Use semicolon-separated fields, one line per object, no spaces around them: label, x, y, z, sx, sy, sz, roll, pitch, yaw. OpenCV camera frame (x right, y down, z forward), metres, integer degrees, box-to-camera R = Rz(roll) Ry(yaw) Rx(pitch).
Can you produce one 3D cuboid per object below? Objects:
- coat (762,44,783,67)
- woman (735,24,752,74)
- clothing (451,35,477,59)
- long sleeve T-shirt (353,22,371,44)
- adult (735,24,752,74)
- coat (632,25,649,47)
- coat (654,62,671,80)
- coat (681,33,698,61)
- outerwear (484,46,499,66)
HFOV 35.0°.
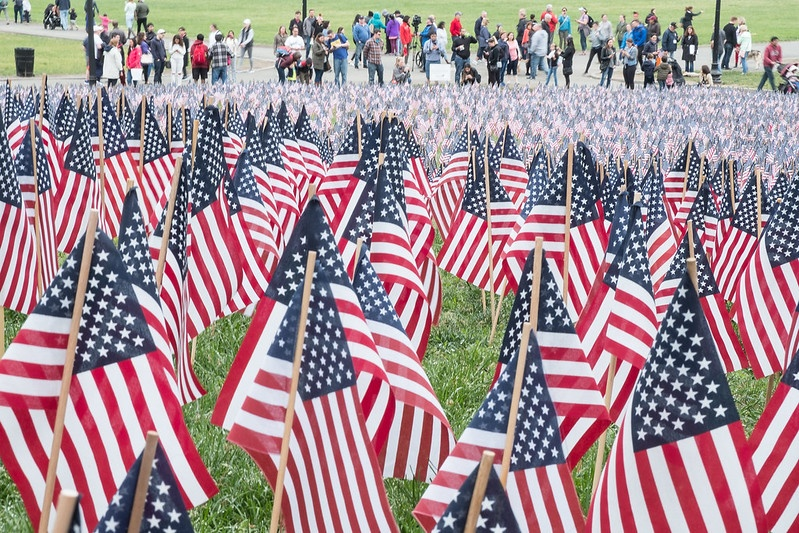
coat;11.980;-6.760;40.699;0.500;0.719;0.433;4;11;2
woman;13.526;-8.530;49.800;0.601;1.946;0.776;0;23;7
clothing;1.931;-6.756;38.985;0.484;0.652;0.917;3;14;-4
long sleeve T-shirt;-1.227;-8.079;43.957;0.698;1.038;0.463;-11;18;-36
adult;13.576;-8.570;49.913;0.601;1.973;0.678;15;35;32
coat;7.889;-7.623;41.891;0.406;0.711;1.385;8;14;22
coat;7.604;-5.619;36.512;0.301;0.410;0.977;8;28;4
coat;10.702;-8.091;46.688;0.443;1.049;0.822;3;12;2
outerwear;2.864;-6.375;38.230;0.353;0.617;1.273;4;14;3
